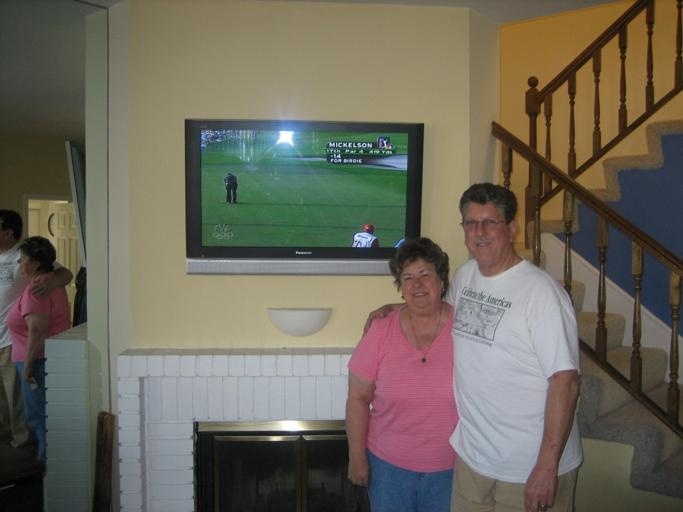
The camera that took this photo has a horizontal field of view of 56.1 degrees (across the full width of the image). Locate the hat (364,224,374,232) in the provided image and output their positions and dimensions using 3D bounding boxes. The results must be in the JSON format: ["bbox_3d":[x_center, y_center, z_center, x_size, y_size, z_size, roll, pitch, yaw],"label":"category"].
[{"bbox_3d":[0.172,-0.176,3.923,0.053,0.044,0.041,-22,56,-34],"label":"hat"}]

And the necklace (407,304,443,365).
[{"bbox_3d":[0.398,0.355,3.005,0.150,0.273,0.069,4,-3,6],"label":"necklace"}]
